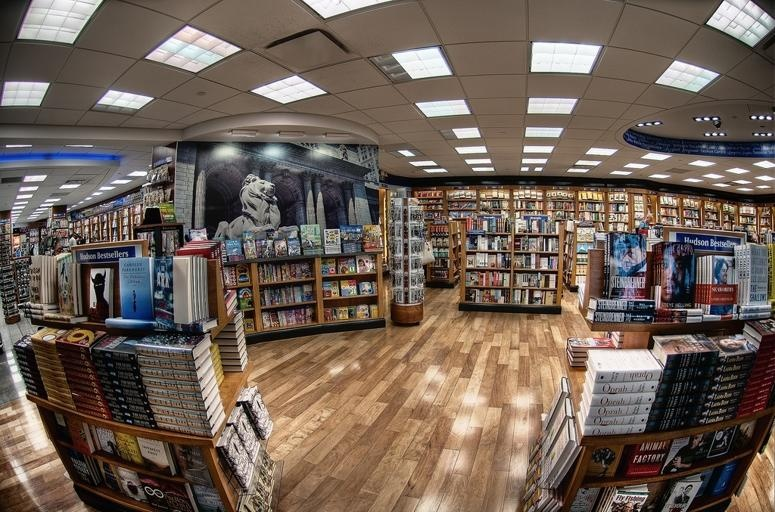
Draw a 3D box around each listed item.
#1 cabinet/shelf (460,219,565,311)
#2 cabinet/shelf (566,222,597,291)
[{"bbox_3d":[2.614,0.143,9.445,2.244,2.023,0.695,2,0,-4],"label":"cabinet/shelf"},{"bbox_3d":[5.330,-0.034,12.120,0.586,1.542,1.740,12,18,31],"label":"cabinet/shelf"}]
